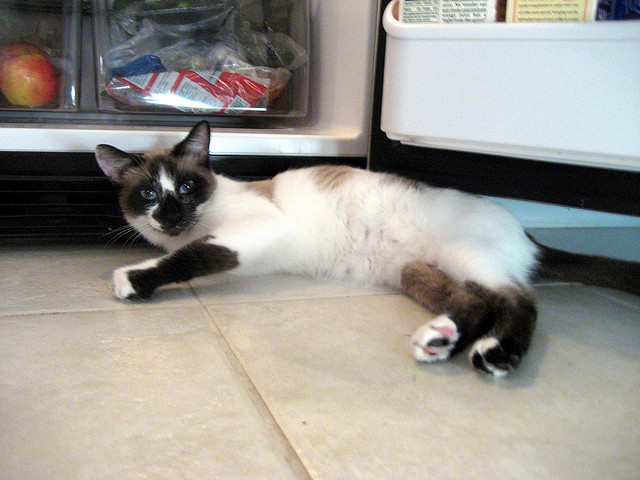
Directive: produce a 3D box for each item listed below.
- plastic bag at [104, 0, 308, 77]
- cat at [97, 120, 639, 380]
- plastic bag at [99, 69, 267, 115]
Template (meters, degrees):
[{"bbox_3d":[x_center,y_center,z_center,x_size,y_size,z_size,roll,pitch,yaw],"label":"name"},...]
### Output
[{"bbox_3d":[-0.416,-0.681,1.700,0.469,0.123,0.301,-7,60,-11],"label":"plastic bag"},{"bbox_3d":[0.439,0.178,1.654,2.054,0.581,0.855,3,54,-11],"label":"cat"},{"bbox_3d":[-0.446,-0.498,1.673,0.377,0.085,0.206,8,21,-18],"label":"plastic bag"}]
